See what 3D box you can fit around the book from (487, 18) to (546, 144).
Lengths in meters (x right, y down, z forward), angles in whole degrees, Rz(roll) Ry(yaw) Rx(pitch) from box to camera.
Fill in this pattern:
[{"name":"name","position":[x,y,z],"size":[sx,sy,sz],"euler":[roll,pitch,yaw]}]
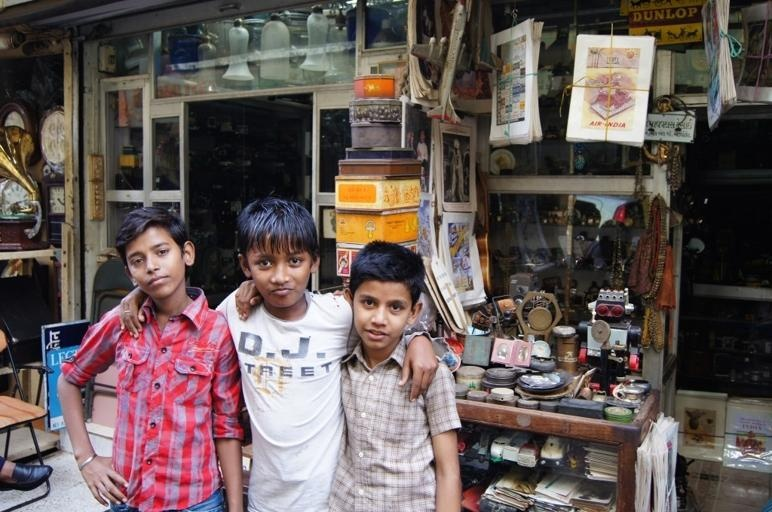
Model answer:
[{"name":"book","position":[0.977,-1.311,4.652],"size":[0.111,0.839,0.513],"euler":[-6,9,-31]}]

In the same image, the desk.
[{"name":"desk","position":[1.191,1.155,4.082],"size":[1.146,0.777,0.671],"euler":[4,15,23]}]

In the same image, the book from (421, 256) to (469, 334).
[{"name":"book","position":[0.453,0.303,4.680],"size":[0.082,0.644,0.321],"euler":[-19,3,39]}]

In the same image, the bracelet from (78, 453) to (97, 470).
[{"name":"bracelet","position":[-1.530,1.053,3.128],"size":[0.083,0.030,0.073],"euler":[-42,5,14]}]

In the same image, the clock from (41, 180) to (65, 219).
[{"name":"clock","position":[-3.601,-0.621,6.819],"size":[0.259,0.458,0.234],"euler":[1,12,-10]}]

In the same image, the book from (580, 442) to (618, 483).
[{"name":"book","position":[1.426,1.367,4.099],"size":[0.296,0.136,0.395],"euler":[1,-1,20]}]

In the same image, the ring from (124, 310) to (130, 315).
[{"name":"ring","position":[-1.332,0.292,3.157],"size":[0.023,0.024,0.023],"euler":[0,-13,0]}]
